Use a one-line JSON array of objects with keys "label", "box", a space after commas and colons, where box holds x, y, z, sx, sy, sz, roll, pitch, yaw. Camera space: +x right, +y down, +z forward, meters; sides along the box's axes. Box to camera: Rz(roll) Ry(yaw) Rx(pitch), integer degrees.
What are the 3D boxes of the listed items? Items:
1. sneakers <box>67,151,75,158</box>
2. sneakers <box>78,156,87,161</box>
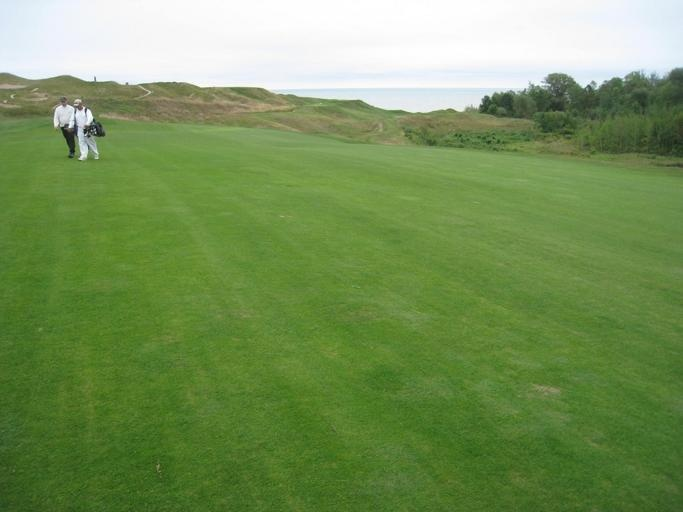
[{"label": "sneakers", "box": [-9.509, -3.508, 17.672, 0.141, 0.160, 0.407, -6, 7, -41]}, {"label": "sneakers", "box": [-8.830, -3.314, 17.145, 0.149, 0.171, 0.422, -5, 10, -37]}]
